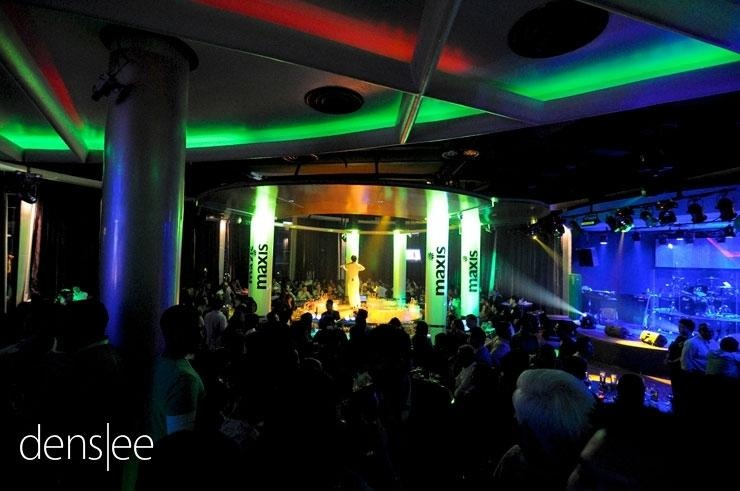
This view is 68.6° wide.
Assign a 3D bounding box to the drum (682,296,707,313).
[{"bbox_3d":[10.673,1.972,17.831,0.515,0.454,0.498,2,6,-22],"label":"drum"}]

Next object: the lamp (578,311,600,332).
[{"bbox_3d":[7.147,2.329,17.374,0.724,0.679,0.639,3,-22,4],"label":"lamp"}]

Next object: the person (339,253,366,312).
[{"bbox_3d":[-0.613,1.195,17.675,0.852,1.647,0.547,-2,5,4],"label":"person"}]
